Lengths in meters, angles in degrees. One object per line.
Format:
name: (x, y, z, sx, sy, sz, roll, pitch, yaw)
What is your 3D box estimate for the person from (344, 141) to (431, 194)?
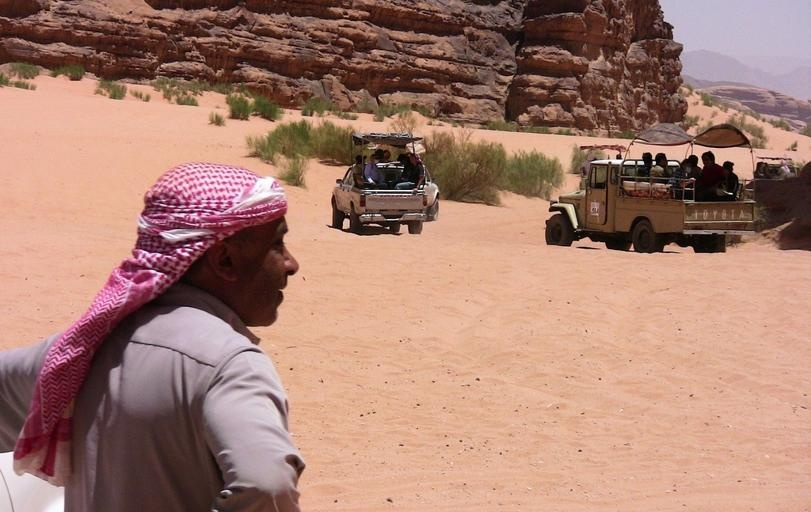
person: (-0.490, -2.431, 27.890, 1.215, 1.096, 1.963, -1, 9, -10)

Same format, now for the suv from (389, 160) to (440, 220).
suv: (0.342, -2.042, 27.760, 1.156, 1.038, 1.898, 1, 11, 1)

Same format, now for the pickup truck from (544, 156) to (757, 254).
pickup truck: (5.622, -1.369, 27.108, 4.023, 1.547, 1.948, 4, 10, 6)

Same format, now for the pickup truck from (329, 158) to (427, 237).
pickup truck: (-0.766, -1.709, 28.524, 2.247, 1.725, 4.034, -1, 9, -12)
